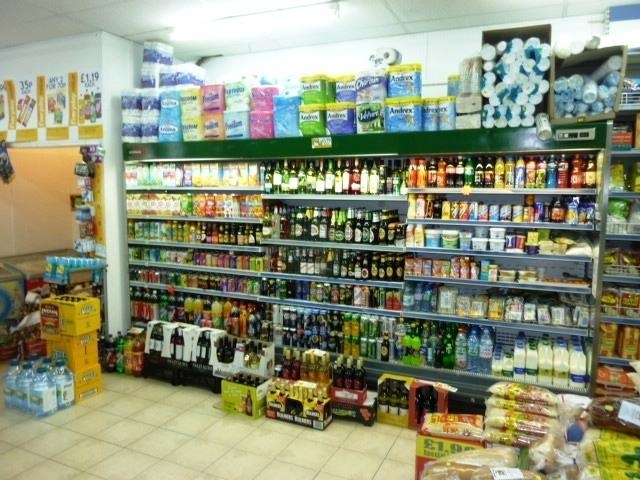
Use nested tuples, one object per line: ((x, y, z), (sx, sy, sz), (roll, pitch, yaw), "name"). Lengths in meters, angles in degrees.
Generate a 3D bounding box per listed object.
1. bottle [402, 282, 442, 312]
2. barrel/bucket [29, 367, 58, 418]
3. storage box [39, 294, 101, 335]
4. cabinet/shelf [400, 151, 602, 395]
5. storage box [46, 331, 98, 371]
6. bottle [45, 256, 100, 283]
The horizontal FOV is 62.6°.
((1.235, 0.714, 6.399), (0.321, 0.310, 0.159), (5, 8, 25), "bottle")
((-3.246, 1.808, 6.185), (0.235, 0.498, 0.220), (-1, 7, 0), "barrel/bucket")
((-3.173, 0.994, 6.681), (0.672, 0.479, 0.385), (-3, 1, 28), "storage box")
((2.098, 0.380, 5.999), (2.413, 3.200, 0.993), (5, 10, 23), "cabinet/shelf")
((-3.120, 1.439, 6.665), (0.466, 0.481, 0.362), (-7, -1, 24), "storage box")
((-3.342, 0.419, 7.208), (0.756, 0.378, 0.417), (-5, 8, -29), "bottle")
